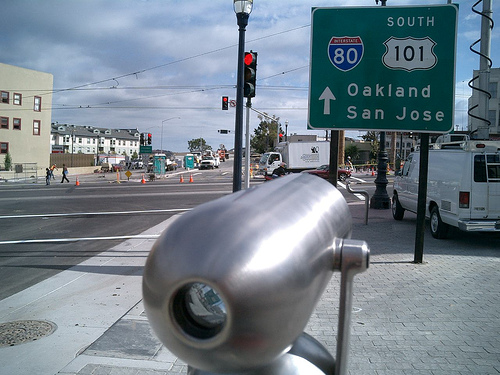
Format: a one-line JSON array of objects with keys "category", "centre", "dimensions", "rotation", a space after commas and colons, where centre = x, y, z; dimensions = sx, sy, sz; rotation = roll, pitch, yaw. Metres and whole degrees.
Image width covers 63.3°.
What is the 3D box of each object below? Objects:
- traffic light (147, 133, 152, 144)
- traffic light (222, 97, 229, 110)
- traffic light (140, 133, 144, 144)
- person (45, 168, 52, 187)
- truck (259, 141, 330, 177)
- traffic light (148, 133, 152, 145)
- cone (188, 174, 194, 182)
[{"category": "traffic light", "centre": [-8.584, -4.129, 34.534], "dimensions": [0.265, 0.775, 0.630], "rotation": [-2, 5, -25]}, {"category": "traffic light", "centre": [-0.866, -2.960, 14.209], "dimensions": [0.179, 0.449, 0.304], "rotation": [0, 5, -12]}, {"category": "traffic light", "centre": [-9.423, -4.203, 35.147], "dimensions": [0.282, 0.794, 0.840], "rotation": [-1, 5, -22]}, {"category": "person", "centre": [-17.942, -0.972, 36.124], "dimensions": [0.420, 1.427, 2.125], "rotation": [-2, 6, -28]}, {"category": "truck", "centre": [4.780, -3.101, 40.710], "dimensions": [6.490, 3.941, 3.038], "rotation": [-2, 20, -7]}, {"category": "traffic light", "centre": [-8.597, -4.120, 34.615], "dimensions": [0.203, 0.742, 0.488], "rotation": [-1, 5, -22]}, {"category": "cone", "centre": [-5.236, -0.779, 35.523], "dimensions": [0.468, 0.617, 0.541], "rotation": [2, 9, 14]}]
